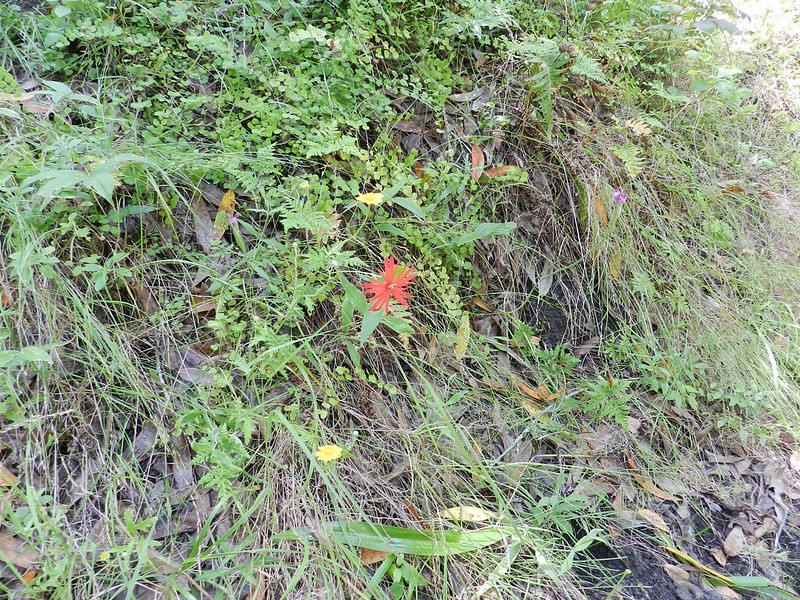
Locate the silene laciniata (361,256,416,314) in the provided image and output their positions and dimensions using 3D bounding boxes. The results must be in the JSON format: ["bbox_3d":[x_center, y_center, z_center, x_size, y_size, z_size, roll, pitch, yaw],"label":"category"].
[{"bbox_3d":[-0.045,-0.054,2.272,0.184,0.194,0.097,42,1,-19],"label":"silene laciniata"}]
